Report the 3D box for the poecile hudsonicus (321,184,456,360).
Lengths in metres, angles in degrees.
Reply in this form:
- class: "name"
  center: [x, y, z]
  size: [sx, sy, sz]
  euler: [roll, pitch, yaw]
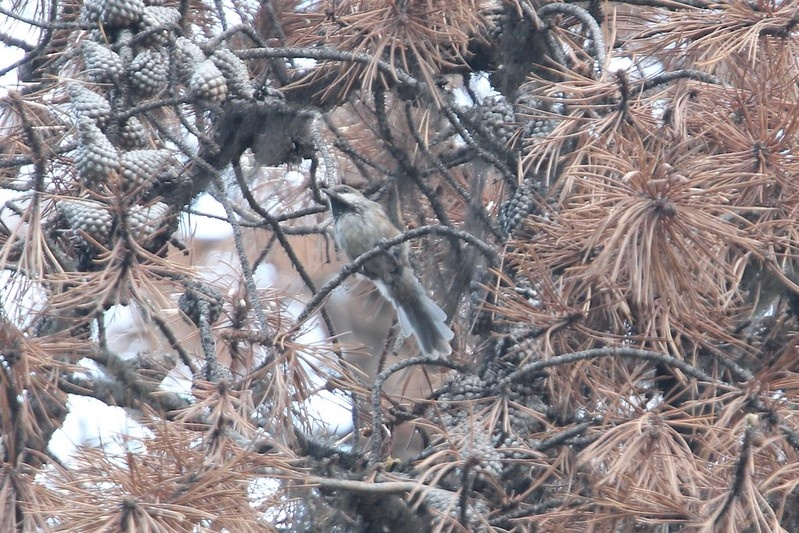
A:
- class: "poecile hudsonicus"
  center: [-0.038, 0.002, 7.839]
  size: [0.181, 0.232, 0.661]
  euler: [-34, -94, 18]
